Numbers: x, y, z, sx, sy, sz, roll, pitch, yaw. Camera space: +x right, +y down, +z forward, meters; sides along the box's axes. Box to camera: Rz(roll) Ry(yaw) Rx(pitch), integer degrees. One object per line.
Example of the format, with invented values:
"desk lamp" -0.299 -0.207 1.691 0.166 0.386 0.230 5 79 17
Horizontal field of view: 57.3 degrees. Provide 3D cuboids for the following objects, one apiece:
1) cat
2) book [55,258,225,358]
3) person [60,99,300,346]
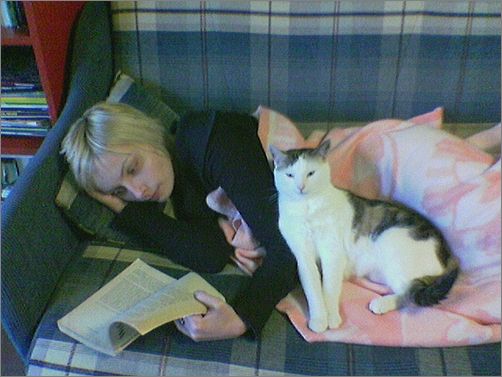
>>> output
"cat" 0.359 0.167 1.400 0.503 0.287 0.475 -3 68 12
"book" -0.364 0.358 1.378 0.307 0.112 0.312 28 42 24
"person" -0.243 0.160 1.612 0.842 0.420 0.674 17 37 -1
